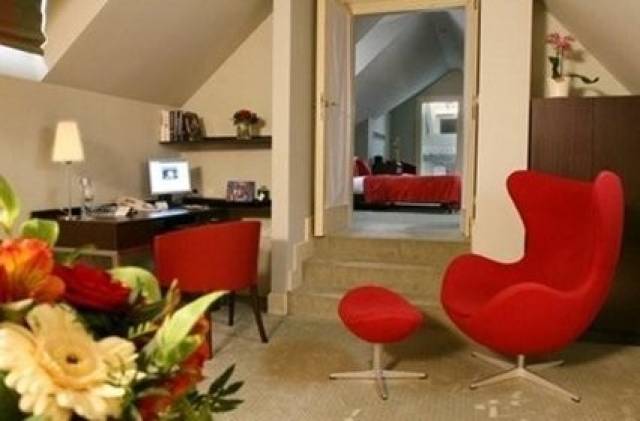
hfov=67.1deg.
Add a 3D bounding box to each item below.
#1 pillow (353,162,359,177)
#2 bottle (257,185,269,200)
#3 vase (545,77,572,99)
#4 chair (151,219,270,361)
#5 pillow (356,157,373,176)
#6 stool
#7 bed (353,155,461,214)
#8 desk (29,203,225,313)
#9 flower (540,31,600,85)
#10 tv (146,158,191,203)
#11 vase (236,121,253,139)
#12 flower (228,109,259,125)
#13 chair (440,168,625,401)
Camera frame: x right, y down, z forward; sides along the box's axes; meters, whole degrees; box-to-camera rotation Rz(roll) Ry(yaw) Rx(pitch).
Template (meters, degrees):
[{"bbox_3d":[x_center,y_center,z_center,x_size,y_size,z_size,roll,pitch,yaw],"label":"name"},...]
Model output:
[{"bbox_3d":[0.606,-0.676,8.216,0.095,0.321,0.277,-2,-24,7],"label":"pillow"},{"bbox_3d":[-0.548,-0.160,4.644,0.140,0.194,0.069,1,5,11],"label":"bottle"},{"bbox_3d":[1.909,-0.970,3.895,0.209,0.163,0.197,2,3,25],"label":"vase"},{"bbox_3d":[-0.714,0.515,3.569,0.704,0.970,0.816,4,-1,-11],"label":"chair"},{"bbox_3d":[0.753,-0.775,8.588,0.138,0.353,0.351,-13,-26,19],"label":"pillow"},{"bbox_3d":[0.325,0.783,2.996,0.587,0.542,0.556,0,-5,-1],"label":"stool"},{"bbox_3d":[1.304,-0.315,7.548,1.686,0.589,1.137,2,9,12],"label":"bed"},{"bbox_3d":[-1.617,0.529,4.219,0.907,1.014,1.748,0,2,16],"label":"desk"},{"bbox_3d":[2.026,-1.276,3.963,0.405,0.353,0.305,-7,17,0],"label":"flower"},{"bbox_3d":[-1.400,-0.274,4.401,0.148,0.421,0.426,-3,1,37],"label":"tv"},{"bbox_3d":[-0.705,-0.754,4.558,0.174,0.185,0.173,0,9,-10],"label":"vase"},{"bbox_3d":[-0.720,-0.859,4.543,0.179,0.099,0.181,1,7,4],"label":"flower"},{"bbox_3d":[1.165,0.267,2.816,0.859,0.998,0.754,-4,10,-22],"label":"chair"}]
